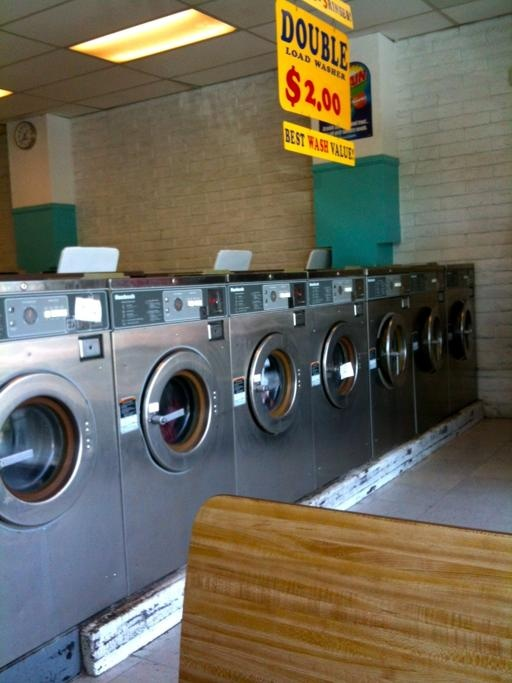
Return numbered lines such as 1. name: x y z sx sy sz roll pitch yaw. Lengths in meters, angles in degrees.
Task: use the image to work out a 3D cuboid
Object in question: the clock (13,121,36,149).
1. clock: -3.169 -2.850 6.789 0.318 0.375 0.049 14 17 28
